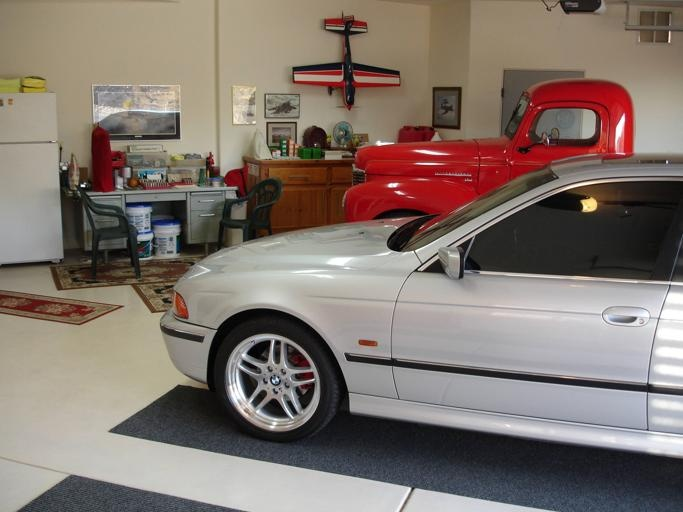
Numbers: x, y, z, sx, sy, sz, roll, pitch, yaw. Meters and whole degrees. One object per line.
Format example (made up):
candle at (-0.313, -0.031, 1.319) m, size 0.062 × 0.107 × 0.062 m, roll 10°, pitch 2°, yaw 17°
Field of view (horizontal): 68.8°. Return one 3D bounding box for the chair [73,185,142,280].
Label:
chair at (-3.087, -0.335, 6.611) m, size 0.941 × 1.305 × 0.838 m, roll -3°, pitch 23°, yaw -12°

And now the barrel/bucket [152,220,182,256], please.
barrel/bucket at (-2.490, -0.268, 7.105) m, size 0.473 × 0.476 × 0.469 m, roll 1°, pitch 6°, yaw 0°

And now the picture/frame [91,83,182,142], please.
picture/frame at (-3.155, -2.192, 7.511) m, size 1.135 × 0.737 × 0.020 m, roll -2°, pitch 9°, yaw -15°

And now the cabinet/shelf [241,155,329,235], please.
cabinet/shelf at (-0.701, -0.783, 8.417) m, size 1.167 × 1.451 × 0.878 m, roll 0°, pitch -8°, yaw -3°

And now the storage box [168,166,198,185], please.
storage box at (-2.399, -1.237, 7.579) m, size 0.492 × 0.318 × 0.266 m, roll -1°, pitch 13°, yaw -13°

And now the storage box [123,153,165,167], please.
storage box at (-2.931, -1.454, 7.510) m, size 0.596 × 0.222 × 0.273 m, roll -8°, pitch 17°, yaw -27°

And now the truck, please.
truck at (1.491, -1.101, 5.415) m, size 2.754 × 1.328 × 1.552 m, roll -1°, pitch 19°, yaw 4°

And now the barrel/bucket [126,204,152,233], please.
barrel/bucket at (-2.773, -0.541, 7.004) m, size 0.395 × 0.355 × 0.387 m, roll -1°, pitch 6°, yaw 0°

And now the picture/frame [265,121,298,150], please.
picture/frame at (-1.033, -2.015, 8.309) m, size 0.617 × 0.467 × 0.049 m, roll -1°, pitch 9°, yaw -11°

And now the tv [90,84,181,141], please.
tv at (-3.165, -2.185, 7.508) m, size 1.114 × 0.724 × 0.020 m, roll -2°, pitch 9°, yaw -15°

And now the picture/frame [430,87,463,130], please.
picture/frame at (1.802, -2.513, 8.467) m, size 0.058 × 0.826 × 0.843 m, roll -6°, pitch 11°, yaw -33°

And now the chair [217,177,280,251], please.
chair at (-1.323, -0.547, 7.125) m, size 0.845 × 1.080 × 0.919 m, roll -1°, pitch 13°, yaw -18°
